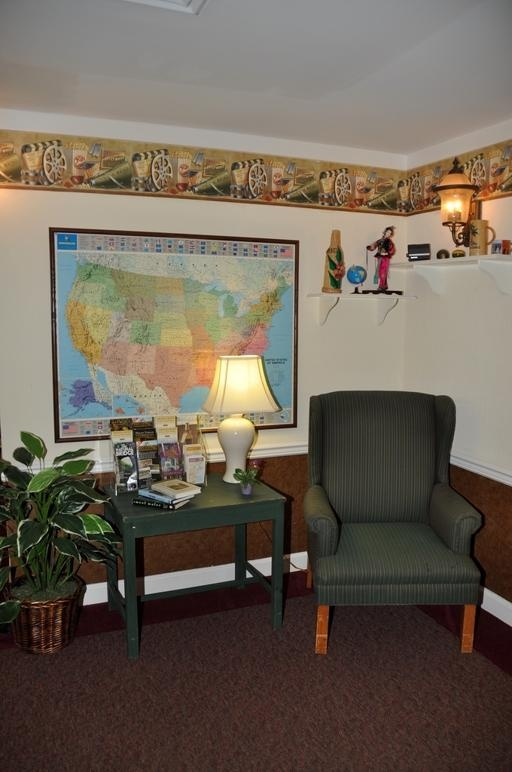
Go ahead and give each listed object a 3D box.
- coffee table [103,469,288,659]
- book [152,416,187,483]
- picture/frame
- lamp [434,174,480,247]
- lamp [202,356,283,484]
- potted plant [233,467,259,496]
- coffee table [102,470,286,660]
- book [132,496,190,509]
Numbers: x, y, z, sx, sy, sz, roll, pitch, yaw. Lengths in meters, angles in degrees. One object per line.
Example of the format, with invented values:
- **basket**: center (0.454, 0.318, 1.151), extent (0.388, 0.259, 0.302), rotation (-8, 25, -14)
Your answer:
- **coffee table**: center (-0.295, 0.820, 2.597), extent (0.756, 0.611, 0.466), rotation (-1, 5, -22)
- **book**: center (-0.439, 0.330, 2.688), extent (0.093, 0.300, 0.253), rotation (-5, -10, -5)
- **picture/frame**: center (-0.385, -0.270, 2.855), extent (1.318, 1.045, 0.021), rotation (-2, 5, -18)
- **lamp**: center (0.969, -0.860, 2.599), extent (0.220, 0.356, 0.196), rotation (-6, 11, -36)
- **lamp**: center (-0.116, 0.170, 2.775), extent (0.340, 0.657, 0.370), rotation (-1, 2, -32)
- **potted plant**: center (-0.051, 0.475, 2.619), extent (0.100, 0.086, 0.113), rotation (1, -3, 9)
- **coffee table**: center (-0.300, 0.818, 2.576), extent (0.757, 0.581, 0.454), rotation (-1, 2, -26)
- **book**: center (-0.421, 0.519, 2.367), extent (0.101, 0.022, 0.102), rotation (4, 4, 31)
